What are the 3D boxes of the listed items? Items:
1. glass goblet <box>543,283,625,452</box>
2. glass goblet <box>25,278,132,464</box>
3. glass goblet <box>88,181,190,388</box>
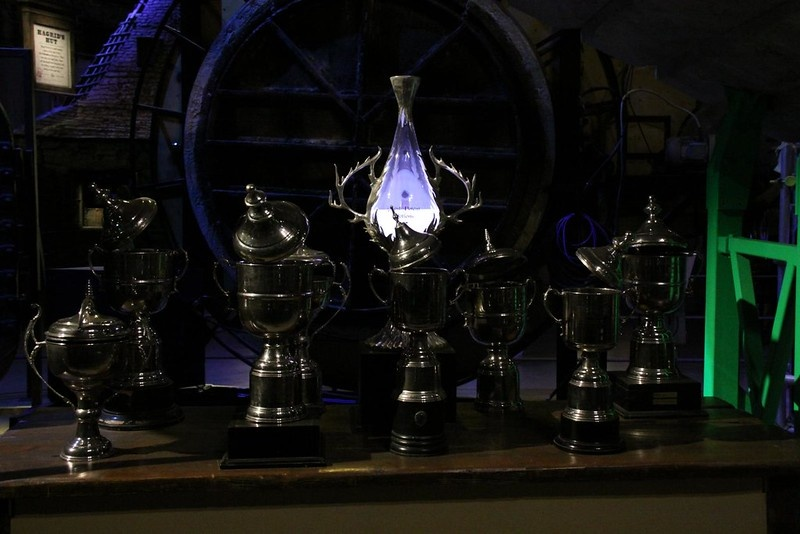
[{"bbox_3d":[0.624,0.342,2.892,0.221,0.539,0.139,1,-2,8],"label":"glass goblet"},{"bbox_3d":[-1.116,0.347,2.993,0.331,0.575,0.600,2,-3,-22],"label":"glass goblet"},{"bbox_3d":[-0.920,0.070,3.115,0.374,0.677,0.335,0,-5,-32],"label":"glass goblet"}]
